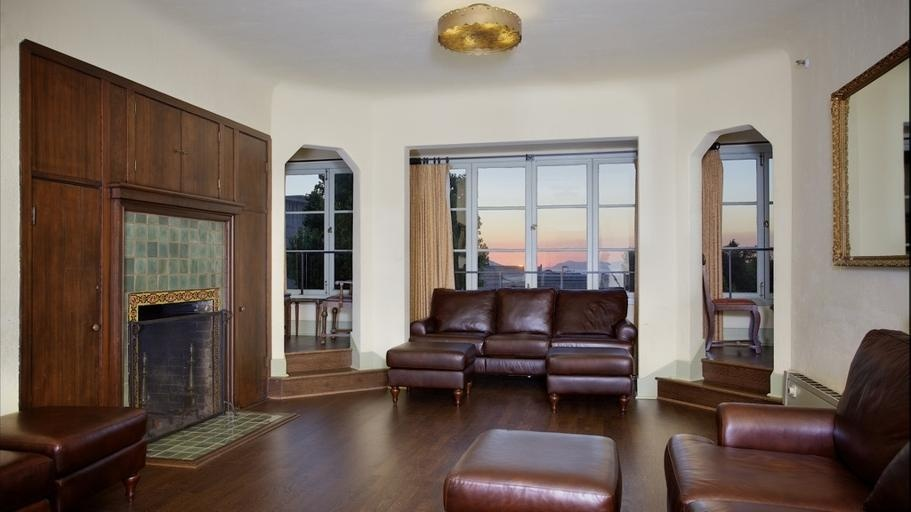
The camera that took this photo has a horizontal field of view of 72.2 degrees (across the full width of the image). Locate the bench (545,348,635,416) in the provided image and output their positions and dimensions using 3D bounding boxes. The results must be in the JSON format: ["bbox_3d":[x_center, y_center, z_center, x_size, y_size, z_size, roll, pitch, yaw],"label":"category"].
[{"bbox_3d":[1.529,1.406,7.175,0.947,0.624,0.489,0,5,4],"label":"bench"}]

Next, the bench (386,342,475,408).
[{"bbox_3d":[-0.297,1.333,7.286,0.815,0.474,0.772,0,-4,11],"label":"bench"}]

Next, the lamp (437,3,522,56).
[{"bbox_3d":[0.200,-2.105,5.865,0.528,0.173,0.500,-3,-4,38],"label":"lamp"}]
